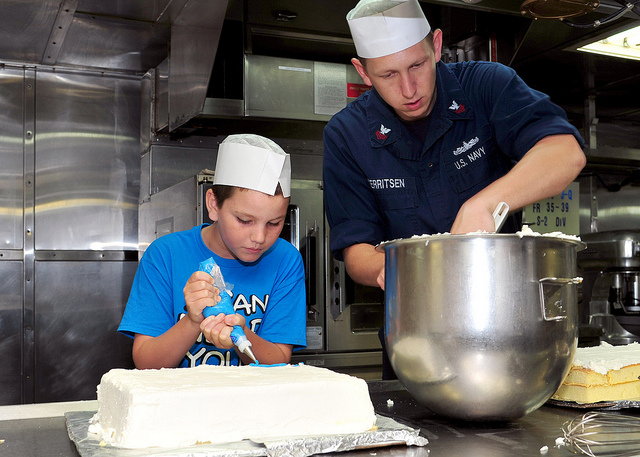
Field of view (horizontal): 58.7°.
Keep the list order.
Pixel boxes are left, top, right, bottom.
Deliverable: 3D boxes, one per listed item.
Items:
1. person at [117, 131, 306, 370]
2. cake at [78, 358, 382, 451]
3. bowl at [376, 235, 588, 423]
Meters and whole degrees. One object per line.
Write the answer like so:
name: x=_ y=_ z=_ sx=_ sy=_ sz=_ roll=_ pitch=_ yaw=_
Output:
person: x=-0.333 y=0.064 z=1.690 sx=0.571 sy=0.739 sz=0.644 roll=0 pitch=-1 yaw=-2
cake: x=-0.205 y=0.383 z=1.260 sx=0.656 sy=0.109 sz=0.386 roll=0 pitch=-1 yaw=-12
bowl: x=0.366 y=0.232 z=1.332 sx=0.484 sy=0.405 sz=0.485 roll=0 pitch=-4 yaw=0
